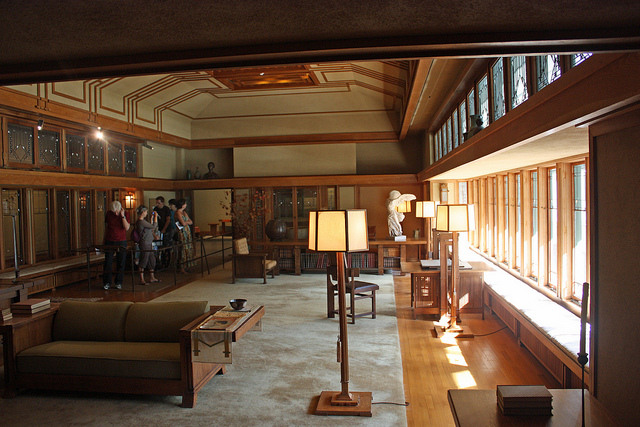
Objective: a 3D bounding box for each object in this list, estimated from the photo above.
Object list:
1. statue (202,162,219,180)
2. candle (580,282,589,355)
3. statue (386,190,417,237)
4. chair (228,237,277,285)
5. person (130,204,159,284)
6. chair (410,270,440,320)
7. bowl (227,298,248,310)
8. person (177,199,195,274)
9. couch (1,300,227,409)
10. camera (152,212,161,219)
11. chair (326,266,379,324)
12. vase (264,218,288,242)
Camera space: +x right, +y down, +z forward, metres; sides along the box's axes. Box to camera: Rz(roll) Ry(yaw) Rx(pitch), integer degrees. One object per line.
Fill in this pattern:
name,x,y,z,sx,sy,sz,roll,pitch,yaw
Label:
statue,-3.527,-1.348,14.492,0.652,0.640,0.366,1,-18,-5
candle,1.789,0.695,3.095,0.037,0.508,0.265,3,9,29
statue,1.876,-0.006,10.893,0.620,1.063,0.810,0,8,9
chair,-1.497,1.054,10.142,0.886,0.970,1.035,-1,8,0
person,-3.697,0.663,9.661,0.532,1.681,1.129,-5,9,-22
chair,1.690,1.292,7.480,0.368,0.561,0.840,1,-3,-11
bowl,-0.979,1.059,5.386,0.176,0.113,0.210,-4,8,-21
person,-3.214,0.548,10.841,0.316,1.768,0.830,-4,8,-14
couch,-2.290,1.505,5.022,2.169,0.895,0.709,0,8,6
camera,-3.803,0.031,10.478,0.202,0.141,0.533,5,-7,-12
chair,0.502,1.227,7.258,0.805,0.857,0.824,0,-2,-14
vase,-1.181,0.437,11.849,0.582,0.514,0.566,0,3,17
